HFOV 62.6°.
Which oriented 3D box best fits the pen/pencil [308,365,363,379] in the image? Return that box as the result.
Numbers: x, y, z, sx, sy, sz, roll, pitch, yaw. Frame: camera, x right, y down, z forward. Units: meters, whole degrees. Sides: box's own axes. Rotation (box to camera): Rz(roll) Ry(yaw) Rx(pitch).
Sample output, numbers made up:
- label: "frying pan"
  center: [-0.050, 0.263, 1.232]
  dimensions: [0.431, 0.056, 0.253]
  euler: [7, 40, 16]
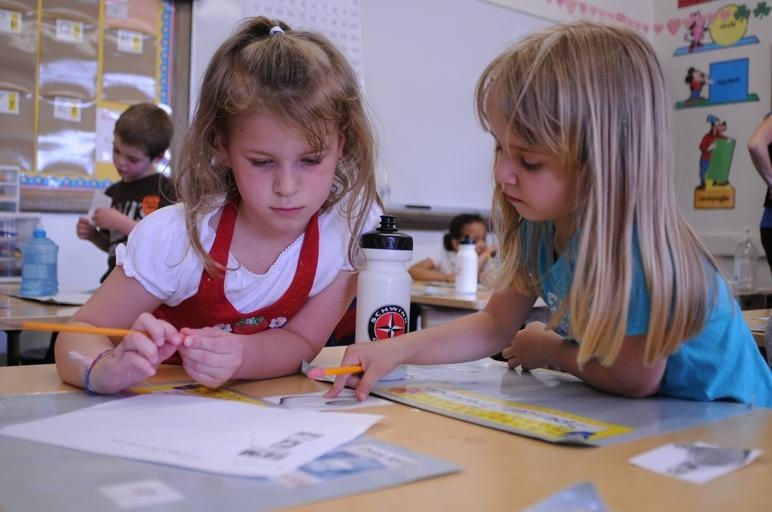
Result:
- label: "pen/pencil"
  center: [-0.090, 0.211, 1.157]
  dimensions: [0.023, 0.022, 0.159]
  euler: [-29, -24, 37]

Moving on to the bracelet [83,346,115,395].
- label: "bracelet"
  center: [-0.518, 0.199, 1.133]
  dimensions: [0.019, 0.064, 0.068]
  euler: [39, 9, 11]
